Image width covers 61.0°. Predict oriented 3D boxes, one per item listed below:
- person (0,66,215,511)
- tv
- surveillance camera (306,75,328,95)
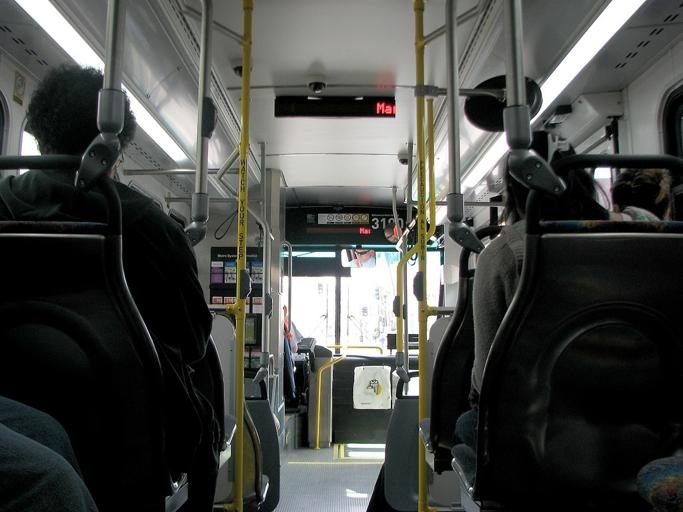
[{"bbox_3d":[-0.834,0.110,2.143,0.776,1.742,0.400,1,-3,-14],"label":"person"},{"bbox_3d":[-1.215,0.292,7.002,0.841,1.090,0.167,-1,-5,10],"label":"tv"},{"bbox_3d":[-0.200,-1.460,4.961,0.166,0.069,0.334,1,-3,-2],"label":"surveillance camera"}]
